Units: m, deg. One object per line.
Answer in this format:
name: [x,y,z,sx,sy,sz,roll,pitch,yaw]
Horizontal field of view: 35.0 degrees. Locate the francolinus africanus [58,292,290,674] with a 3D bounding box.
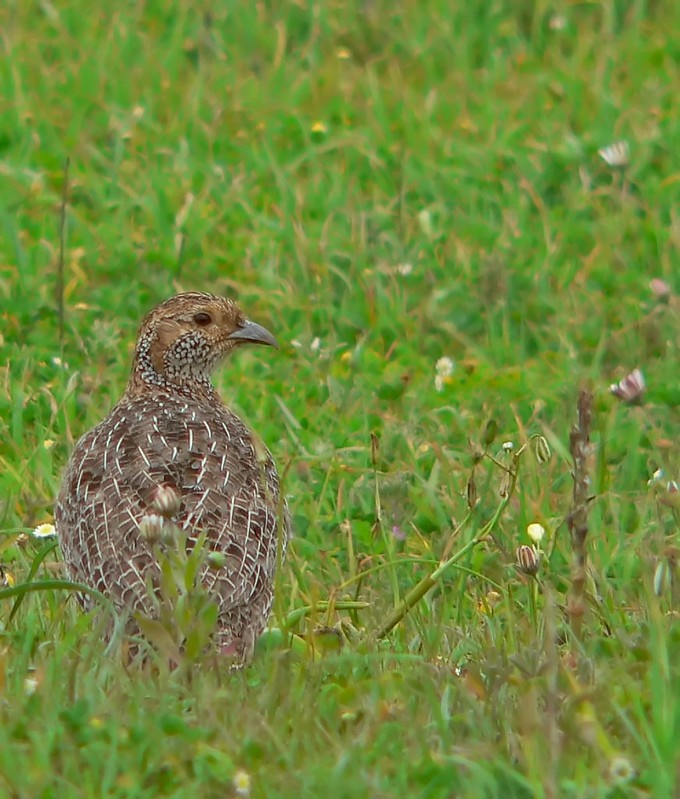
francolinus africanus: [-0.505,0.303,3.355,0.642,0.627,1.268,-6,98,-29]
